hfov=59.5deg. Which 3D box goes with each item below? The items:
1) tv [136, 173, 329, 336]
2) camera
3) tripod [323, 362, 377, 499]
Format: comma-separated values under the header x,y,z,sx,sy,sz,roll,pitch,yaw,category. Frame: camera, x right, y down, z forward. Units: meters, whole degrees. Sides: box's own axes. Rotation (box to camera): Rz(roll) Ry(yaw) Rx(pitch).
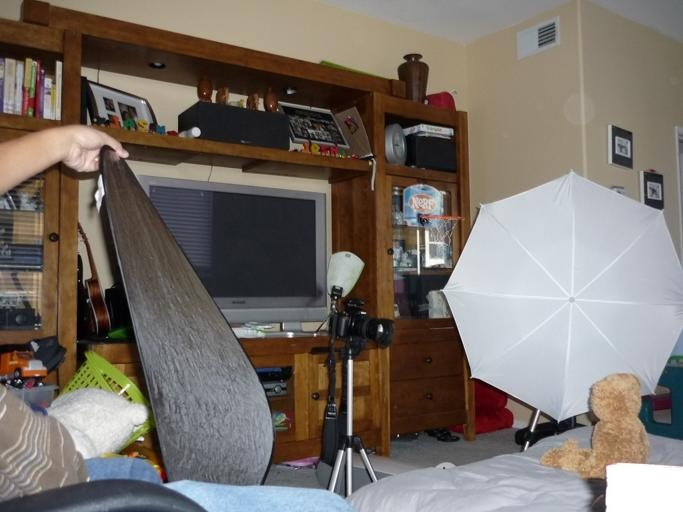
x,y,z,sx,sy,sz,roll,pitch,yaw,category
-0.481,-0.021,2.768,0.861,0.684,0.089,6,-20,-30,tv
0.077,0.292,2.492,0.226,0.151,0.233,13,-1,26,camera
0.049,0.723,2.548,0.197,0.619,0.602,-1,3,3,tripod
